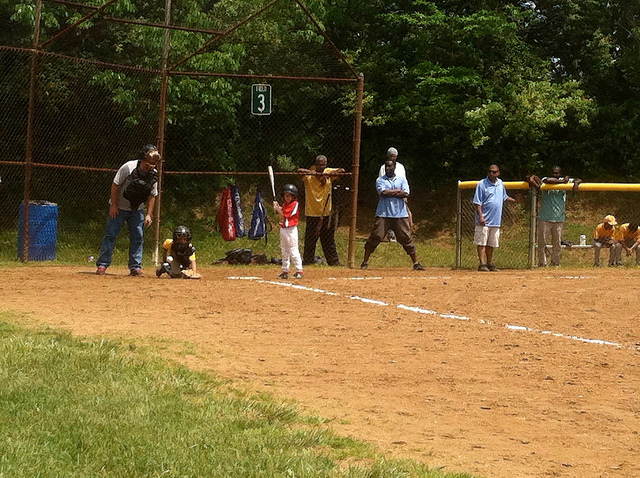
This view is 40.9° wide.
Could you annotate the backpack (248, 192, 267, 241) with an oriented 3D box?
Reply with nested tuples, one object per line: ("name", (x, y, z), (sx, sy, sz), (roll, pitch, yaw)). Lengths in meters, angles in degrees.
("backpack", (-1.293, -0.488, 18.126), (0.357, 1.028, 0.589), (4, 6, -4))

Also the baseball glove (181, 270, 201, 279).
("baseball glove", (-2.054, 0.549, 13.867), (0.306, 0.124, 0.379), (5, 7, 6))

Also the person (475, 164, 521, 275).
("person", (3.260, -0.382, 16.322), (0.717, 2.013, 0.549), (-2, 9, -44))

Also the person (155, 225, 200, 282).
("person", (-2.321, 0.194, 13.985), (0.711, 0.860, 0.854), (-2, 12, -17))

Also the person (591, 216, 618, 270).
("person", (6.246, 0.054, 18.690), (0.551, 1.065, 1.159), (6, 7, 17))

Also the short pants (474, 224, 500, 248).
("short pants", (3.165, -0.038, 16.445), (0.600, 0.584, 0.359), (3, -2, -25))

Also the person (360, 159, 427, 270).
("person", (1.394, -0.454, 16.281), (1.093, 2.083, 0.652), (4, 6, -4))

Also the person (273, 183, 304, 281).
("person", (-0.500, -0.114, 13.863), (0.528, 1.520, 0.646), (4, 6, -2))

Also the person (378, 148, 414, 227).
("person", (1.636, -0.816, 16.491), (0.566, 1.729, 0.509), (-14, 15, 6))

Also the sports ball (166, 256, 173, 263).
("sports ball", (-2.404, 0.330, 13.708), (0.106, 0.090, 0.089), (1, 7, -25))
